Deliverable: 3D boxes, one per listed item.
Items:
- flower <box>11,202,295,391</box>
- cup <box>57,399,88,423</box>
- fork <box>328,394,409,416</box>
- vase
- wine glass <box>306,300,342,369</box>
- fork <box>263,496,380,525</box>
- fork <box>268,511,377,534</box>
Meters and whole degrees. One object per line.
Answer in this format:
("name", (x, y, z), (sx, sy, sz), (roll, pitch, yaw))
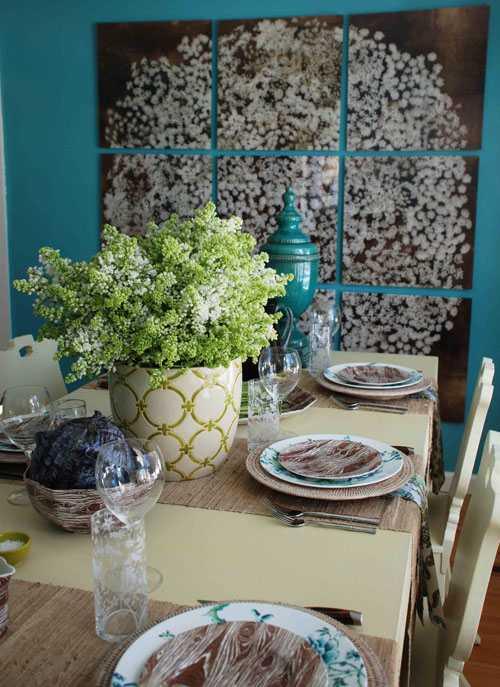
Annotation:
("flower", (-0.150, -0.092, 0.998), (0.369, 0.223, 0.354), (6, 43, 10))
("cup", (-0.332, 0.123, 1.129), (0.056, 0.040, 0.054), (1, -2, 0))
("fork", (0.285, 0.149, 1.441), (0.130, 0.020, 0.022), (8, 16, 7))
("vase", (-0.092, 0.095, 1.081), (0.246, 0.186, 0.217), (-11, 26, -29))
("wine glass", (0.206, -0.016, 1.837), (0.113, 0.239, 0.110), (9, -15, -21))
("fork", (0.105, 0.245, 0.873), (0.182, 0.030, 0.024), (3, 3, 4))
("fork", (0.099, 0.251, 0.849), (0.148, 0.025, 0.044), (6, 2, 5))
